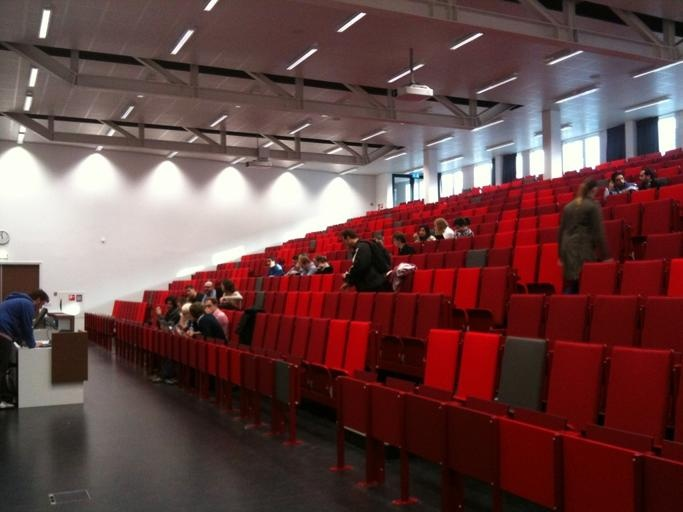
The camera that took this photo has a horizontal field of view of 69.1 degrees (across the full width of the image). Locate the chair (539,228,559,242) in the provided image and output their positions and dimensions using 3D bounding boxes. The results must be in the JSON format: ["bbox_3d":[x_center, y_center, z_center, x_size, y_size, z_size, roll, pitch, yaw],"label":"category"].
[{"bbox_3d":[2.172,-0.219,5.190,0.135,0.183,0.192,0,-6,-18],"label":"chair"}]

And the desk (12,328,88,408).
[{"bbox_3d":[-3.255,1.214,5.666,0.664,0.798,1.311,2,-6,-23],"label":"desk"}]

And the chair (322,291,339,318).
[{"bbox_3d":[-0.128,0.540,5.458,0.179,0.335,0.245,8,-9,-35],"label":"chair"}]

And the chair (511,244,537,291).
[{"bbox_3d":[1.771,0.081,4.756,0.223,0.387,0.374,-3,-2,10],"label":"chair"}]

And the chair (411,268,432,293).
[{"bbox_3d":[0.803,0.256,5.053,0.163,0.213,0.297,-2,-2,-24],"label":"chair"}]

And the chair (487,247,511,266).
[{"bbox_3d":[1.578,0.018,5.028,0.145,0.257,0.283,3,-1,-32],"label":"chair"}]

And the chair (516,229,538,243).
[{"bbox_3d":[2.069,-0.213,5.569,0.180,0.219,0.169,2,-2,16],"label":"chair"}]

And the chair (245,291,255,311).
[{"bbox_3d":[-1.331,0.654,7.188,0.119,0.209,0.219,2,-3,-22],"label":"chair"}]

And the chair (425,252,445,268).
[{"bbox_3d":[1.054,0.055,5.658,0.156,0.221,0.181,-7,-11,41],"label":"chair"}]

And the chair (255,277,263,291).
[{"bbox_3d":[-1.443,0.488,8.653,0.108,0.215,0.221,1,-1,-20],"label":"chair"}]

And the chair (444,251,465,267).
[{"bbox_3d":[1.230,0.039,5.421,0.162,0.231,0.176,-4,-8,41],"label":"chair"}]

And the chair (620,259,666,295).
[{"bbox_3d":[2.136,0.160,3.658,0.282,0.285,0.208,-1,13,5],"label":"chair"}]

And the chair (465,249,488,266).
[{"bbox_3d":[1.398,0.028,5.183,0.161,0.229,0.186,-3,-11,34],"label":"chair"}]

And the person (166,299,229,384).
[{"bbox_3d":[-1.659,0.984,5.907,0.530,0.828,0.335,-8,9,-29],"label":"person"}]

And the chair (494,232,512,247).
[{"bbox_3d":[1.865,-0.191,5.716,0.150,0.183,0.237,-2,-2,-13],"label":"chair"}]

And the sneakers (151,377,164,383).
[{"bbox_3d":[-2.489,1.632,6.677,0.136,0.048,0.438,-2,-2,-22],"label":"sneakers"}]

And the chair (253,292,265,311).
[{"bbox_3d":[-1.144,0.633,6.859,0.145,0.282,0.206,1,-2,-28],"label":"chair"}]

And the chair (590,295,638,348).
[{"bbox_3d":[1.647,0.400,2.994,0.132,0.271,0.274,12,-8,-30],"label":"chair"}]

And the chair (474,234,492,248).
[{"bbox_3d":[1.673,-0.173,5.902,0.199,0.201,0.108,5,4,43],"label":"chair"}]

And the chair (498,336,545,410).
[{"bbox_3d":[1.032,0.673,2.855,0.147,0.415,0.286,-2,-2,-39],"label":"chair"}]

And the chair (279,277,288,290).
[{"bbox_3d":[-0.891,0.423,7.575,0.108,0.197,0.203,2,-1,-24],"label":"chair"}]

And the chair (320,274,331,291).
[{"bbox_3d":[-0.207,0.348,6.459,0.110,0.209,0.215,1,-1,-24],"label":"chair"}]

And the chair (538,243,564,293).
[{"bbox_3d":[1.904,0.104,4.574,0.189,0.467,0.321,-3,-1,20],"label":"chair"}]

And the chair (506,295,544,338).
[{"bbox_3d":[1.324,0.419,3.682,0.237,0.330,0.177,1,14,2],"label":"chair"}]

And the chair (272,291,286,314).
[{"bbox_3d":[-0.822,0.616,6.484,0.142,0.258,0.263,4,-1,-17],"label":"chair"}]

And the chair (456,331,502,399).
[{"bbox_3d":[0.839,0.686,3.110,0.178,0.406,0.318,-2,-2,-31],"label":"chair"}]

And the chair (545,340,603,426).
[{"bbox_3d":[1.227,0.667,2.630,0.316,0.459,0.222,-4,-2,44],"label":"chair"}]

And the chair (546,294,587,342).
[{"bbox_3d":[1.490,0.395,3.345,0.232,0.322,0.173,2,16,14],"label":"chair"}]

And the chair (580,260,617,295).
[{"bbox_3d":[1.940,0.170,3.752,0.218,0.255,0.183,4,-8,44],"label":"chair"}]
